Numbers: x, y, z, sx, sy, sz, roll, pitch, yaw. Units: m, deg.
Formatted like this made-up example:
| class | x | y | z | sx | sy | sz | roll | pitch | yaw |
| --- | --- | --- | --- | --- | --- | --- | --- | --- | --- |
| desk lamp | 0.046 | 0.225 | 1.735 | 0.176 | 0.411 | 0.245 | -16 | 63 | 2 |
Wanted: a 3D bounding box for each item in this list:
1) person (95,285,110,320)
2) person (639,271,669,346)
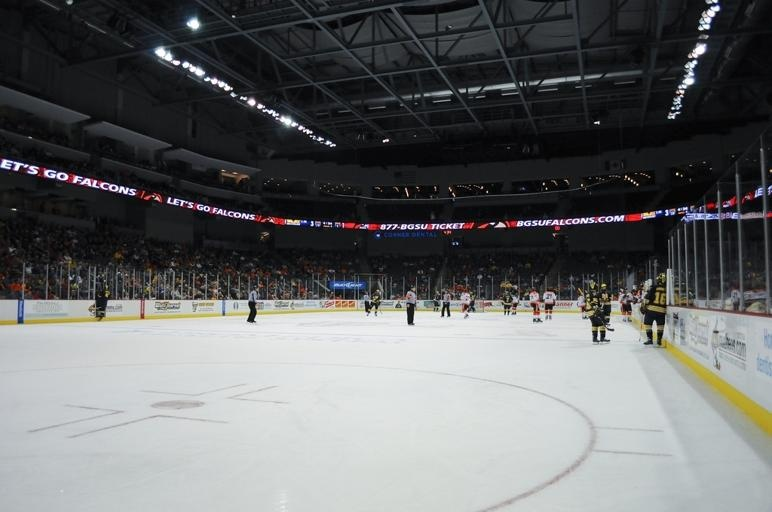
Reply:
| class | x | y | z | sx | sy | sz | roll | pitch | yaw |
| --- | --- | --- | --- | --- | --- | --- | --- | --- | --- |
| person | -12.603 | 2.066 | 25.838 | 0.489 | 1.509 | 0.782 | -1 | 4 | -19 |
| person | 6.896 | 1.345 | 14.923 | 0.740 | 1.737 | 0.530 | 11 | -8 | -13 |
